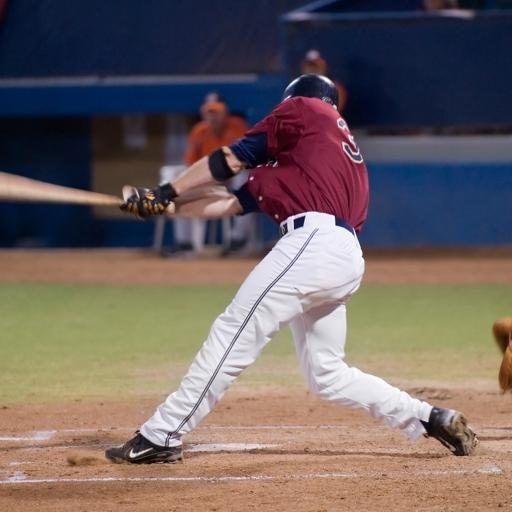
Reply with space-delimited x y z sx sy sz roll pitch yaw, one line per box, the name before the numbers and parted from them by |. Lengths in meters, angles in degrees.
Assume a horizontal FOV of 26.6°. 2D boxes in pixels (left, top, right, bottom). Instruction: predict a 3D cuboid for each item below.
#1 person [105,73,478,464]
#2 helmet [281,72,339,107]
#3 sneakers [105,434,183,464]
person | 0.133 0.061 5.606 1.781 1.984 0.606 -1 13 -5
helmet | 0.295 -0.877 5.747 0.255 0.185 0.192 7 1 -45
sneakers | -0.578 0.981 5.528 0.445 0.149 0.136 2 -4 2
